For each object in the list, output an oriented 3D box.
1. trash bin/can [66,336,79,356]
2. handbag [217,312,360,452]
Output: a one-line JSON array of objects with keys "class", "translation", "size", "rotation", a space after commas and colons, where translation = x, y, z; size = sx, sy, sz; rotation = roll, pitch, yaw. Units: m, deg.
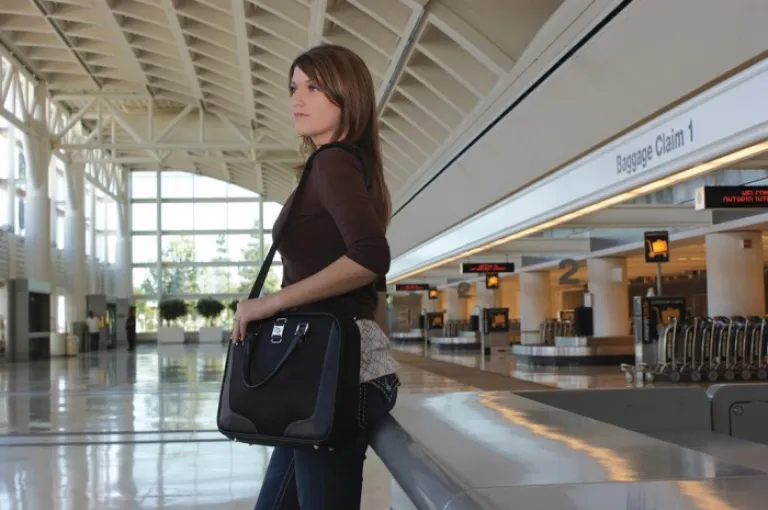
[{"class": "trash bin/can", "translation": [-13.181, 3.784, 23.157], "size": [0.447, 0.816, 0.361], "rotation": [5, -9, -37]}, {"class": "handbag", "translation": [-0.296, 0.408, 1.783], "size": [0.440, 0.398, 0.242], "rotation": [-5, -16, 25]}]
